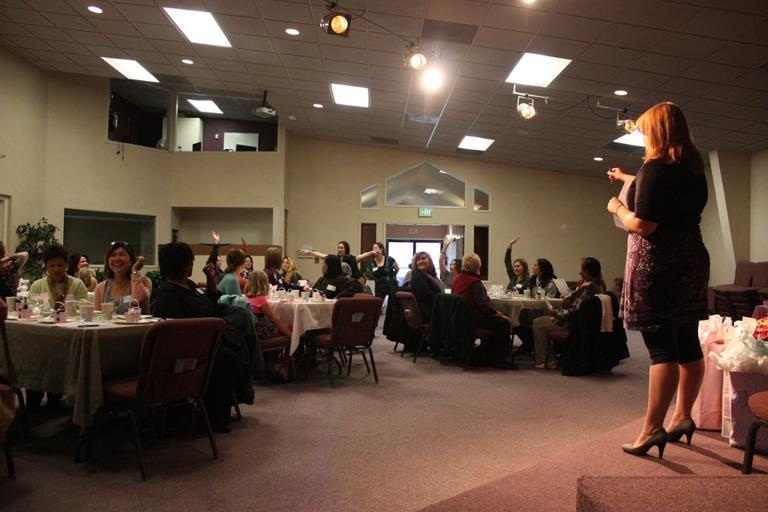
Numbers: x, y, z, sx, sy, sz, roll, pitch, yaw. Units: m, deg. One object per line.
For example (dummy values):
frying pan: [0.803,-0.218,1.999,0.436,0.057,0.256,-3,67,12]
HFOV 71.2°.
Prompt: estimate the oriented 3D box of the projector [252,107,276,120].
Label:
projector: [-2.731,-3.407,12.644,0.352,0.132,0.346,0,-2,40]

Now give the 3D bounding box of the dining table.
dining table: [-2.543,0.845,4.603,1.498,0.740,1.006,1,3,42]

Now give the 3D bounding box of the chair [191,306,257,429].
chair: [-1.427,1.053,5.112,0.322,0.906,0.694,2,-5,-6]

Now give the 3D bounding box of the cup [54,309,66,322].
cup: [-2.799,0.524,4.684,0.097,0.095,0.090,1,0,0]

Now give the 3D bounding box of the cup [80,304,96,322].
cup: [-2.621,0.508,4.770,0.144,0.157,0.144,1,-4,0]

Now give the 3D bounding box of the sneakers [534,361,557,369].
sneakers: [2.250,1.506,7.540,0.109,0.137,0.319,9,-7,-36]

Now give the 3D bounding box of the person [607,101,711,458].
person: [2.038,0.167,4.012,0.662,2.613,0.389,2,4,23]

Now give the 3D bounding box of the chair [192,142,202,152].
chair: [-4.782,-2.790,13.816,0.257,0.252,0.159,-2,-4,-1]

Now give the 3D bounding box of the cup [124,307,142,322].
cup: [-2.188,0.519,4.710,0.113,0.095,0.130,1,-6,-5]

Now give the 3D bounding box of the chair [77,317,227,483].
chair: [-1.920,1.121,4.561,0.886,1.131,0.803,-3,-6,31]

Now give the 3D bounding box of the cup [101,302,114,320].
cup: [-2.440,0.487,4.765,0.130,0.145,0.137,3,-4,0]

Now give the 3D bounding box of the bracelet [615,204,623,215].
bracelet: [1.769,-0.356,4.077,0.016,0.065,0.065,9,16,16]
